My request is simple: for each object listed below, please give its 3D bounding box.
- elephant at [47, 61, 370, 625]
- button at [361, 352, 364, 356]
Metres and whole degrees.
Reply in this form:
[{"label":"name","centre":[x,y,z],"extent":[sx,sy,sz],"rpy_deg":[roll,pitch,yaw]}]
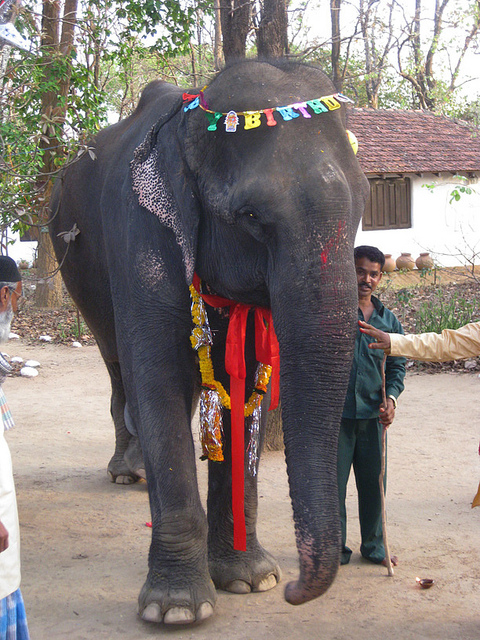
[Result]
[{"label":"elephant","centre":[-0.194,0.059,3.627],"extent":[1.120,1.992,2.701],"rpy_deg":[1,5,-19]},{"label":"button","centre":[0.538,0.151,3.493],"extent":[0.017,0.014,0.005],"rpy_deg":[6,-8,-7]}]
